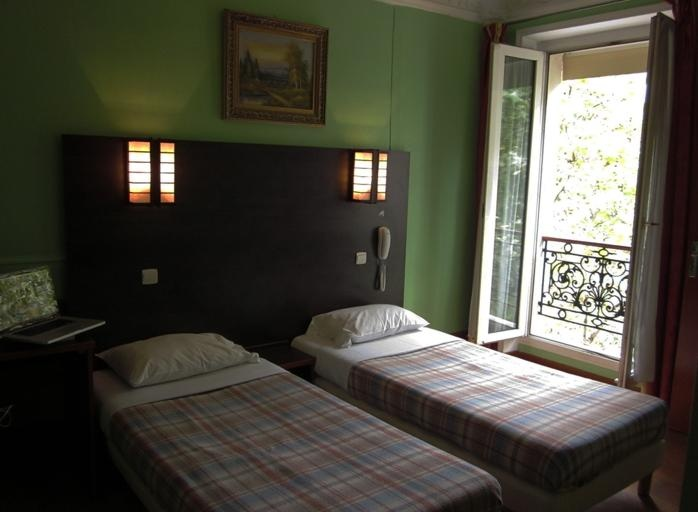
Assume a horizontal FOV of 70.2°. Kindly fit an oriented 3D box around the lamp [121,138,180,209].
[{"bbox_3d":[-1.307,-0.555,3.282,0.294,0.414,0.081,-3,12,-27],"label":"lamp"}]

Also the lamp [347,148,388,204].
[{"bbox_3d":[0.193,-0.669,4.247,0.261,0.378,0.290,-13,6,17],"label":"lamp"}]

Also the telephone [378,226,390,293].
[{"bbox_3d":[0.302,0.022,4.411,0.103,0.557,0.142,-1,-3,25],"label":"telephone"}]

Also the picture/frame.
[{"bbox_3d":[-0.599,-1.450,3.748,1.006,0.832,0.078,-4,10,-33],"label":"picture/frame"}]
